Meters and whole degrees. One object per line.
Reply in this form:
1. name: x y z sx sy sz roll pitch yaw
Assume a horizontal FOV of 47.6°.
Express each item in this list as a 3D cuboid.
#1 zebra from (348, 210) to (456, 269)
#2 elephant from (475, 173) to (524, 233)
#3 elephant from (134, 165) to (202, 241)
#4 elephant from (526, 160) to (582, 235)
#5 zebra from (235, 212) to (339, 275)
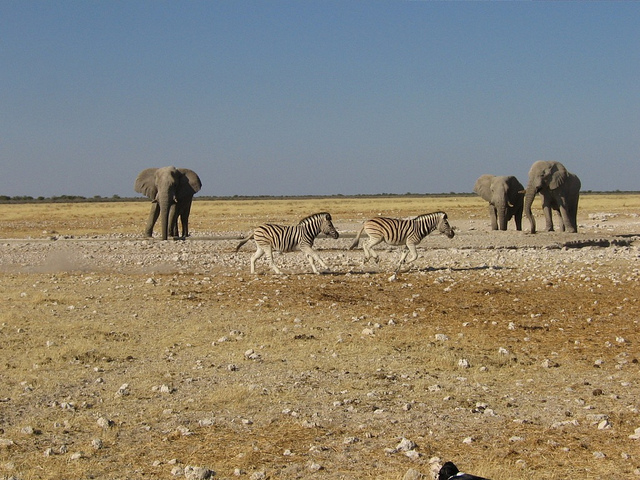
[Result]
1. zebra: 2.213 -0.315 20.470 2.287 1.895 2.253 -1 8 -36
2. elephant: 8.654 -1.755 34.839 2.028 2.737 4.117 -1 1 15
3. elephant: -7.065 -1.864 34.211 2.580 3.338 5.347 3 6 -2
4. elephant: 10.018 -1.714 31.272 1.609 3.003 1.720 -8 8 -42
5. zebra: -0.766 0.099 19.854 2.253 1.693 1.060 -2 11 -1
